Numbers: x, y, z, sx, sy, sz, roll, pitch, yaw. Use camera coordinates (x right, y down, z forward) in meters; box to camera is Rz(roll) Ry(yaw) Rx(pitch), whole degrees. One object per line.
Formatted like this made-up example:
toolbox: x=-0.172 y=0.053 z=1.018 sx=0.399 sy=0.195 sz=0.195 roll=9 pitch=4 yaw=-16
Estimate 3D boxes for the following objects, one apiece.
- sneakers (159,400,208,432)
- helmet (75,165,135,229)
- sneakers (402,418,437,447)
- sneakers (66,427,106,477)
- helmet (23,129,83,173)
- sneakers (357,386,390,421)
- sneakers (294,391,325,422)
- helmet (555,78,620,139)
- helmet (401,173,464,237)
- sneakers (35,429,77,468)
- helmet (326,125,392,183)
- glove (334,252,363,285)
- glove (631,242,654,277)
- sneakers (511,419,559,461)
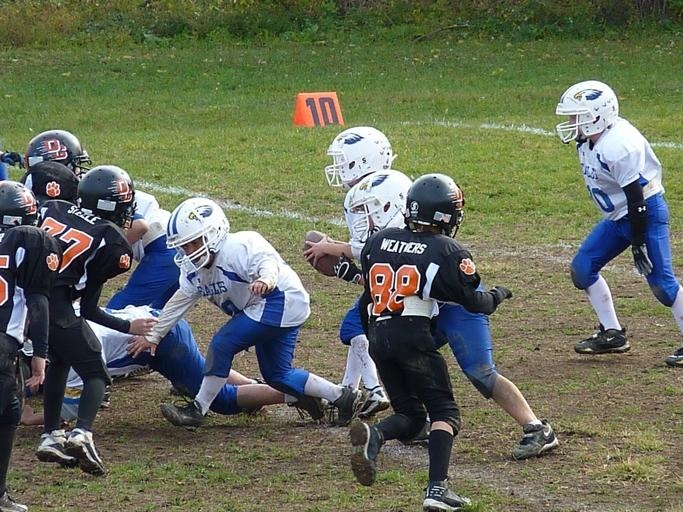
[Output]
sneakers: x=-1.246 y=1.275 z=9.228 sx=0.202 sy=0.189 sz=0.405 roll=52 pitch=14 yaw=21
helmet: x=-1.910 y=-0.477 z=9.336 sx=0.459 sy=0.493 sz=0.564 roll=16 pitch=13 yaw=22
sneakers: x=0.580 y=1.381 z=9.055 sx=0.207 sy=0.272 sz=0.304 roll=-7 pitch=-24 yaw=25
sneakers: x=-1.943 y=1.434 z=8.753 sx=0.186 sy=0.195 sz=0.448 roll=-1 pitch=-30 yaw=11
helmet: x=-2.566 y=-0.924 z=10.364 sx=0.648 sy=0.421 sz=0.438 roll=-8 pitch=17 yaw=-32
sneakers: x=0.232 y=1.177 z=9.630 sx=0.183 sy=0.229 sz=0.355 roll=1 pitch=-18 yaw=-32
sneakers: x=-0.254 y=1.256 z=9.546 sx=0.171 sy=0.117 sz=0.351 roll=-26 pitch=54 yaw=-19
helmet: x=2.245 y=-1.326 z=10.522 sx=0.631 sy=0.446 sz=0.428 roll=-7 pitch=11 yaw=6
helmet: x=0.708 y=-0.380 z=8.776 sx=0.487 sy=0.473 sz=0.516 roll=7 pitch=7 yaw=3
sneakers: x=-2.120 y=1.450 z=8.663 sx=0.323 sy=0.112 sz=0.213 roll=31 pitch=39 yaw=-14
helmet: x=0.177 y=-0.862 z=10.041 sx=0.574 sy=0.419 sz=0.398 roll=-11 pitch=-15 yaw=-43
glove: x=0.048 y=0.120 z=9.510 sx=0.265 sy=0.219 sz=0.098 roll=33 pitch=-5 yaw=-2
glove: x=2.663 y=0.029 z=10.223 sx=0.167 sy=0.278 sz=0.086 roll=-16 pitch=1 yaw=38
sneakers: x=1.461 y=1.401 z=8.889 sx=0.186 sy=0.219 sz=0.525 roll=5 pitch=14 yaw=40
